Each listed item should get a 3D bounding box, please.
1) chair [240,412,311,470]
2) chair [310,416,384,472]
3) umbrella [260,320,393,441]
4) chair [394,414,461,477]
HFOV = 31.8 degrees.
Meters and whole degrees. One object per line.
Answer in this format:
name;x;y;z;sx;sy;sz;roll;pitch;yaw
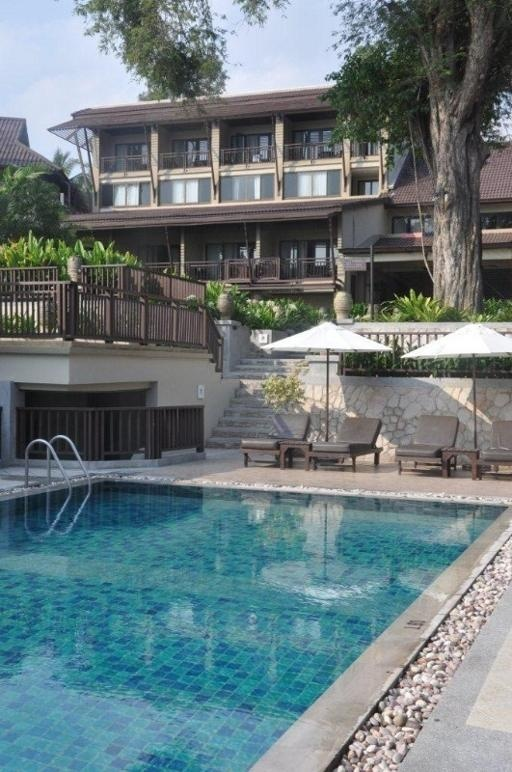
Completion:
chair;0.352;0.915;15.206;0.765;0.954;1.293;-2;-3;33
chair;1.478;0.931;14.519;0.714;0.911;1.370;-1;-3;32
umbrella;1.490;-0.085;16.051;1.745;2.165;3.575;-1;6;12
chair;2.669;0.905;14.044;0.712;1.047;1.121;1;2;28
